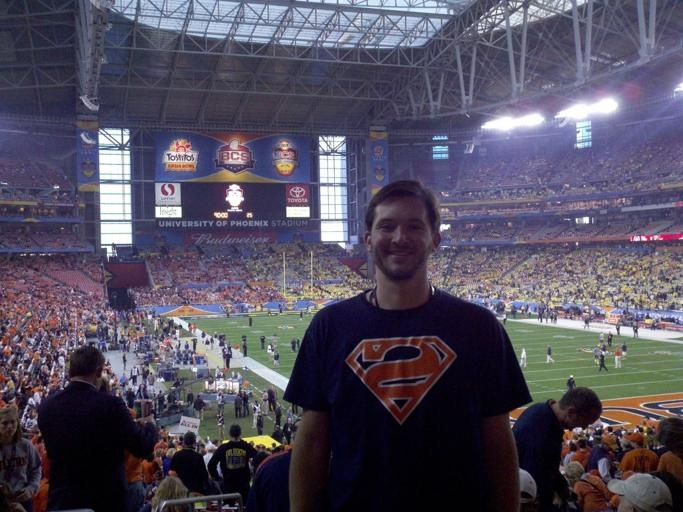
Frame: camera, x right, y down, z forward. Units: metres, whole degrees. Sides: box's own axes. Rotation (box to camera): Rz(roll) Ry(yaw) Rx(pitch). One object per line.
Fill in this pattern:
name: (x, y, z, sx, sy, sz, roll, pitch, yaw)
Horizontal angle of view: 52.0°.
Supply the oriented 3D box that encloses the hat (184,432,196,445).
hat: (-4.372, 5.167, 20.038, 0.270, 0.389, 0.359, 3, 0, -12)
